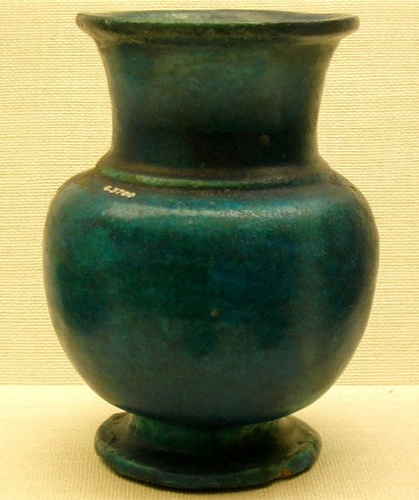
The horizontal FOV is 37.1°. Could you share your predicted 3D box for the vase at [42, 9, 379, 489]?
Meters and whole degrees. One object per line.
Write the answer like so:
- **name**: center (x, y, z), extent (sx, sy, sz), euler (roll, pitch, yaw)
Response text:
- **vase**: center (-0.016, -0.032, 0.839), extent (0.459, 0.556, 0.245), euler (3, 12, 13)
